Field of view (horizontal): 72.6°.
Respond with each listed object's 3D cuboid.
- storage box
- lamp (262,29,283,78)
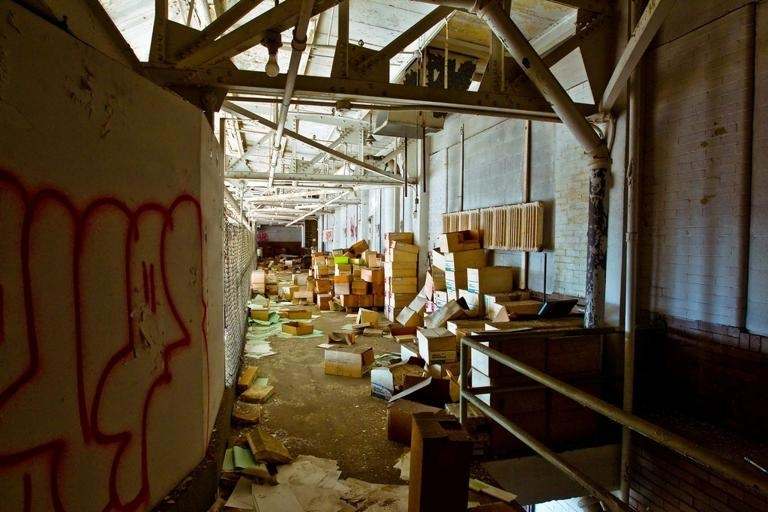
[{"bbox_3d":[0.139,1.365,6.279,3.353,1.693,4.294,-1,10,-33],"label":"storage box"},{"bbox_3d":[-0.972,-1.740,4.496,0.147,0.365,0.164,1,9,-21],"label":"lamp"}]
